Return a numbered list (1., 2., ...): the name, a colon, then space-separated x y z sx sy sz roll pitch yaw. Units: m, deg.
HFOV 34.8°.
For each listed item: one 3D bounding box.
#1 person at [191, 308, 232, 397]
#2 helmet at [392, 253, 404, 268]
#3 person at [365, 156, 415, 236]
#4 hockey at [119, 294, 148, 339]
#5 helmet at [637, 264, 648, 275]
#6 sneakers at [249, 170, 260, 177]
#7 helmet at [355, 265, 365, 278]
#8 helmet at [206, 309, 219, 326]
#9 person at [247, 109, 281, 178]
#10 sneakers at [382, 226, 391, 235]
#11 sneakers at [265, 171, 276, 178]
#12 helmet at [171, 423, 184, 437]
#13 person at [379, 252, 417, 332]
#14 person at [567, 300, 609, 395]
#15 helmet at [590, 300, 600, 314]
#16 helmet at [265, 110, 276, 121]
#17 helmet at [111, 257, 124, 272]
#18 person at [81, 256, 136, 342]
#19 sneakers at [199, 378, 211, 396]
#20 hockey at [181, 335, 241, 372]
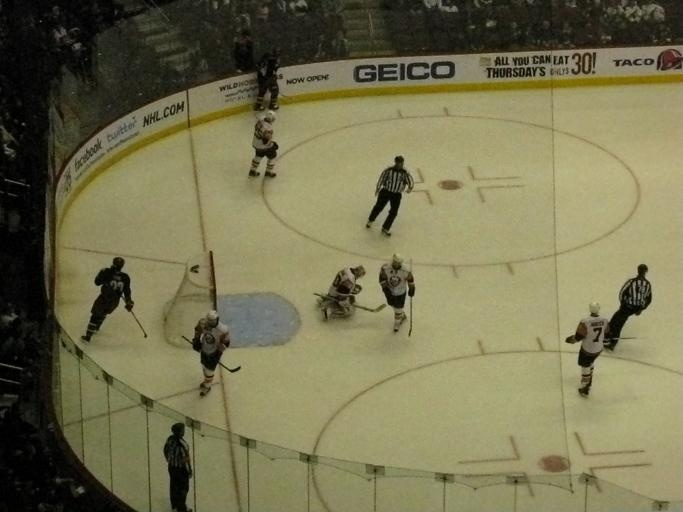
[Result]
1. person: -1.834 1.332 15.293 0.485 1.333 0.771 -11 14 -19
2. helmet: 0.806 0.072 16.316 0.176 0.184 0.183 1 52 -1
3. person: 0.776 -1.047 18.817 0.750 1.420 0.928 -8 14 -8
4. hockey: -3.254 0.903 16.850 0.175 0.135 1.174 31 14 -45
5. helmet: 4.544 0.200 16.584 0.120 0.138 0.143 6 35 8
6. sneakers: -1.654 -1.598 20.618 0.202 0.183 0.087 -16 50 -19
7. helmet: 0.255 0.209 16.683 0.144 0.175 0.177 12 39 8
8. helmet: -1.767 0.833 14.888 0.188 0.189 0.190 -1 62 2
9. person: -1.520 -2.113 20.583 0.615 1.283 1.377 -7 13 -3
10. sneakers: 0.741 -0.448 19.015 0.086 0.072 0.177 -24 45 -36
11. sneakers: -1.376 -1.555 20.648 0.231 0.075 0.141 -2 -8 -19
12. helmet: -1.958 2.049 13.091 0.181 0.158 0.140 -9 27 -24
13. person: 0.861 0.556 16.554 0.463 1.244 0.369 2 16 32
14. person: 3.486 1.283 15.531 0.567 1.396 0.763 -3 14 13
15. helmet: 3.488 0.716 15.243 0.161 0.195 0.199 1 19 8
16. helmet: -1.326 -2.556 20.062 0.152 0.226 0.365 -5 13 4
17. helmet: -3.341 0.068 16.245 0.189 0.237 0.236 3 38 -15
18. person: -3.567 0.611 16.378 0.799 1.214 0.454 -8 14 -10
19. sneakers: -1.950 1.852 15.514 0.125 0.230 0.339 8 25 9
20. hockey: -1.905 1.417 15.657 1.033 0.115 0.147 29 38 -26
